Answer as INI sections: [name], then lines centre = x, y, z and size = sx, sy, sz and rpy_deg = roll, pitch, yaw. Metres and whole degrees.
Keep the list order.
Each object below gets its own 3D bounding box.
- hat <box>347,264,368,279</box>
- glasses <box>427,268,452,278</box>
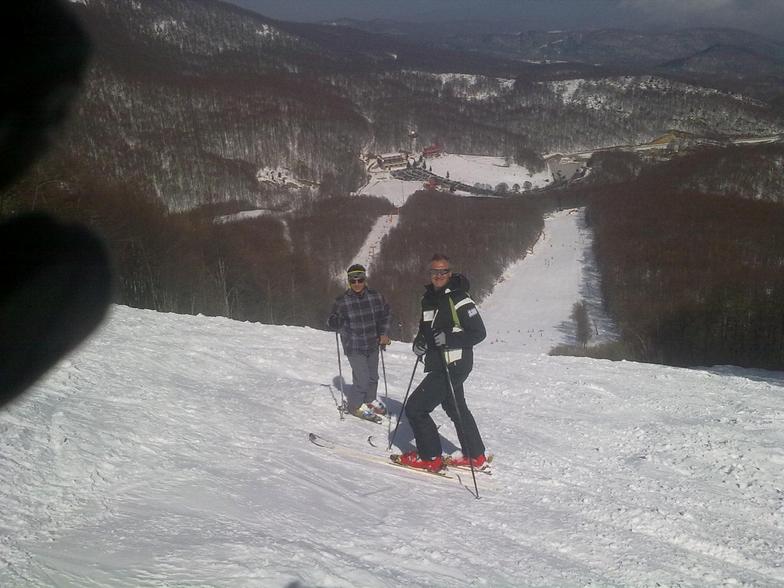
[hat]
centre = -0.978, -0.665, 25.539
size = 0.477, 0.443, 0.576
rpy_deg = 11, 20, 23
[glasses]
centre = 1.294, -0.549, 23.892
size = 0.559, 0.211, 0.149
rpy_deg = 3, 19, 1
